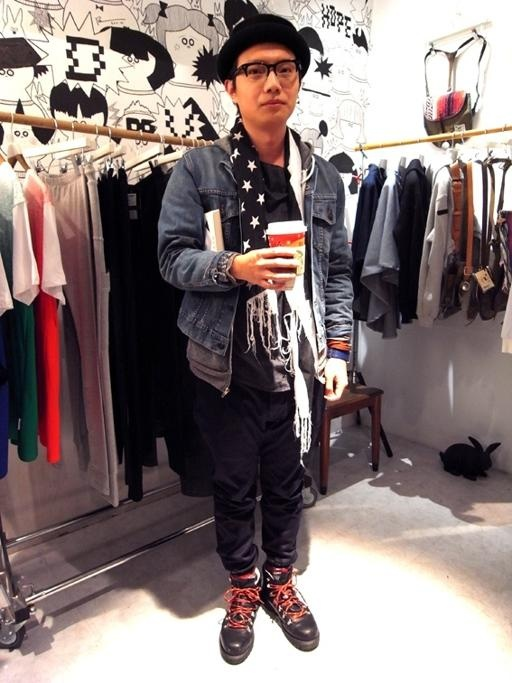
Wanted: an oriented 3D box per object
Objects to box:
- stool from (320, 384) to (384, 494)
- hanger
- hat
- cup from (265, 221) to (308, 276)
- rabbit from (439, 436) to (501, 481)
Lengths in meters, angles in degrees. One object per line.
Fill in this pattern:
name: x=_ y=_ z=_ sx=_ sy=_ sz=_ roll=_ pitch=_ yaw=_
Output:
stool: x=0.510 y=0.529 z=2.528 sx=0.329 sy=0.490 sz=0.286 roll=-12 pitch=20 yaw=-32
hanger: x=0.056 y=-0.751 z=1.837 sx=0.800 sy=0.094 sz=0.036 roll=10 pitch=24 yaw=-7
hat: x=0.009 y=-0.670 z=1.129 sx=0.232 sy=0.161 sz=0.049 roll=-11 pitch=21 yaw=-37
cup: x=0.068 y=-0.198 z=0.959 sx=0.071 sy=0.109 sz=0.108 roll=8 pitch=18 yaw=27
rabbit: x=1.136 y=0.574 z=2.550 sx=0.244 sy=0.245 sz=0.158 roll=8 pitch=13 yaw=36
